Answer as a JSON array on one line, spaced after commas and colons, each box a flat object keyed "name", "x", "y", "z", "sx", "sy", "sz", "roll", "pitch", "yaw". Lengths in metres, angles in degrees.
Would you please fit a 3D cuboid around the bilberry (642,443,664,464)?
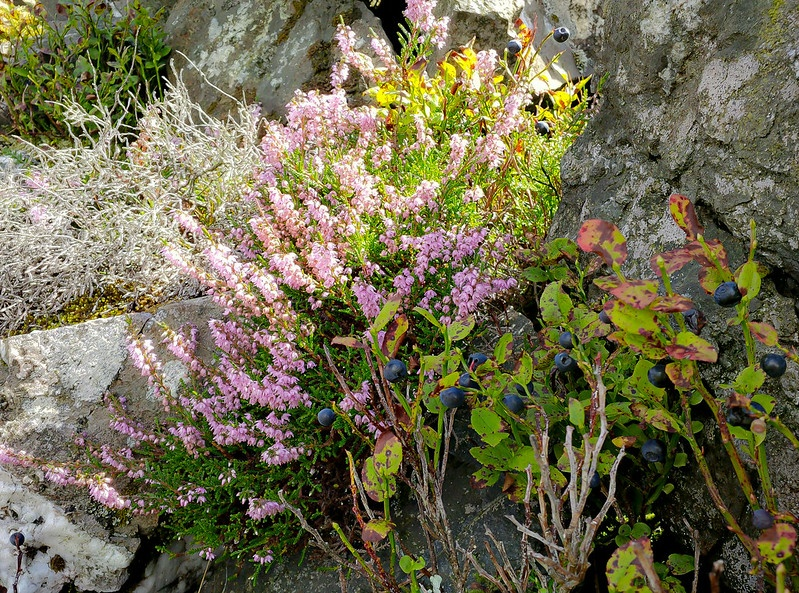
[{"name": "bilberry", "x": 0.814, "y": 0.500, "z": 2.140, "sx": 0.067, "sy": 0.100, "sz": 0.053, "roll": 6, "pitch": 61, "yaw": 10}]

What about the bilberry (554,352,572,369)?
[{"name": "bilberry", "x": 0.551, "y": 0.218, "z": 2.222, "sx": 0.057, "sy": 0.084, "sz": 0.066, "roll": -1, "pitch": 60, "yaw": 6}]
